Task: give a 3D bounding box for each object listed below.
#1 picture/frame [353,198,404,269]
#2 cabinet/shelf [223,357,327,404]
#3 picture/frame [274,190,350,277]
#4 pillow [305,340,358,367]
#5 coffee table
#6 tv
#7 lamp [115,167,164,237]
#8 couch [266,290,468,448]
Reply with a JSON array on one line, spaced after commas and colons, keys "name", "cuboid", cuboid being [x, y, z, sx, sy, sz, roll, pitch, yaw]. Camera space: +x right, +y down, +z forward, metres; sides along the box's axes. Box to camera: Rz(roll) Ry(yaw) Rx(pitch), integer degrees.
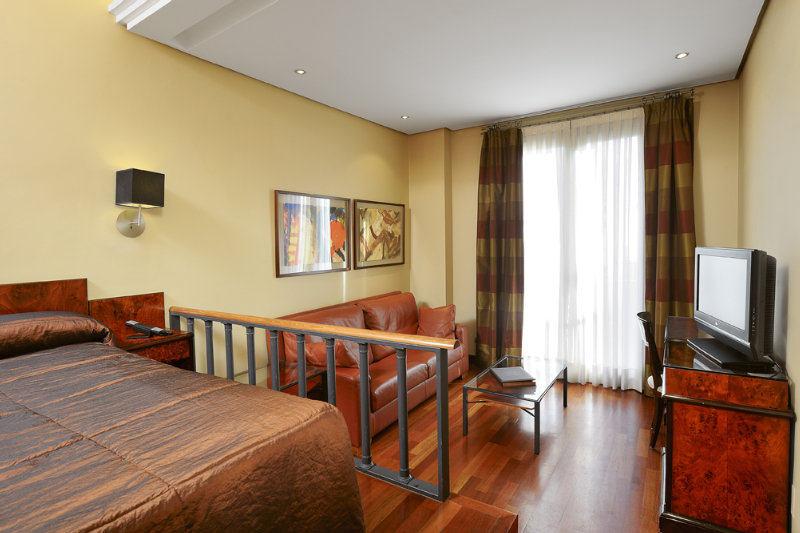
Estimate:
[{"name": "picture/frame", "cuboid": [-0.232, -0.370, 6.035, 0.045, 0.766, 0.993, 2, 4, 33]}, {"name": "cabinet/shelf", "cuboid": [-0.886, 0.834, 3.836, 0.491, 0.245, 0.378, -1, -4, 28]}, {"name": "picture/frame", "cuboid": [-0.851, -0.311, 5.218, 0.910, 0.824, 0.071, 2, 5, 26]}, {"name": "pillow", "cuboid": [-0.575, 0.761, 4.617, 0.331, 0.121, 0.350, 9, 6, 37]}, {"name": "coffee table", "cuboid": [0.989, 1.051, 4.670, 0.598, 0.428, 0.989, 0, 6, 28]}, {"name": "tv", "cuboid": [2.409, 0.257, 3.846, 0.346, 0.822, 0.863, -1, 5, 6]}, {"name": "lamp", "cuboid": [-2.014, -0.481, 4.020, 0.286, 0.507, 0.288, 2, 1, 43]}, {"name": "couch", "cuboid": [-0.136, 0.932, 5.316, 0.891, 1.113, 2.136, -2, 5, 32]}]
